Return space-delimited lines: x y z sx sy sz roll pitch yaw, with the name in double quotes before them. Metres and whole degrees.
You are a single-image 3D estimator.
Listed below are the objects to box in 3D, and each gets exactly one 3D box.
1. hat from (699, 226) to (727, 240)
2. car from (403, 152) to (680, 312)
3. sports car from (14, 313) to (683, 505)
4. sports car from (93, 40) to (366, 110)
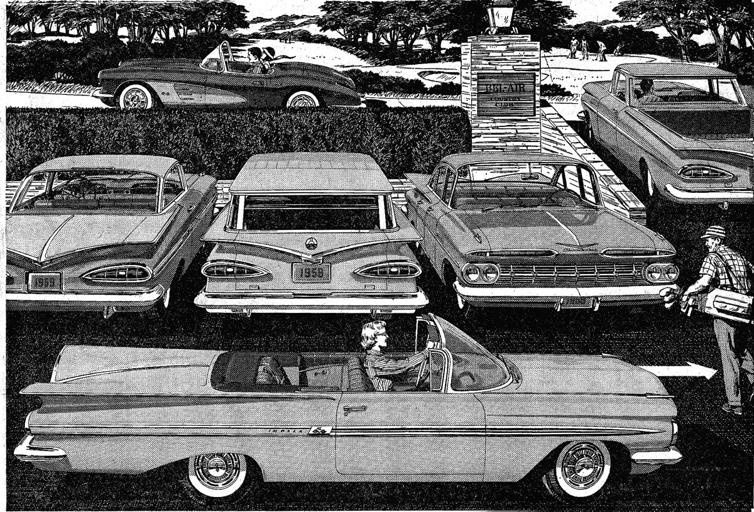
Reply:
"hat" 3.967 -0.278 12.155 0.248 0.131 0.192 8 3 7
"car" 1.950 -0.314 12.464 2.756 1.788 1.965 -2 18 -4
"sports car" -0.249 1.541 11.206 6.184 1.802 2.710 0 11 -4
"sports car" -1.899 -2.730 13.742 3.162 0.918 1.324 2 18 0
